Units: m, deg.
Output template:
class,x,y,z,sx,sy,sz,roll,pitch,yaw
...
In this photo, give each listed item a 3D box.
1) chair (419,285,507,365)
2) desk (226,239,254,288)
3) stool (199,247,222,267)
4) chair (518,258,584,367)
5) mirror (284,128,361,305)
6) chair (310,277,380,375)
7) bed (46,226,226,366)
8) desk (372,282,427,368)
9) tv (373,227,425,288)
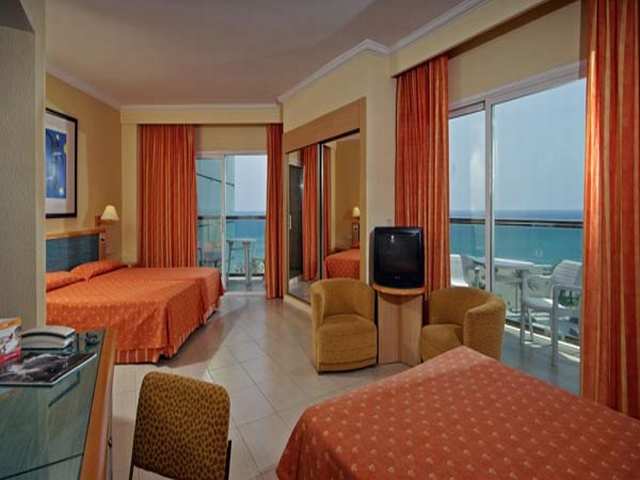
class,x,y,z,sx,sy,sz,roll,pitch,yaw
chair,1.324,0.849,4.283,0.681,0.735,0.779,-1,9,-28
desk,-1.516,0.336,8.329,0.512,0.726,0.563,2,3,1
stool,-1.838,0.265,7.616,0.455,0.479,0.255,0,0,-19
chair,2.155,0.612,4.146,0.405,0.818,0.491,0,5,3
mirror,0.059,-0.369,6.091,0.116,2.596,2.373,-3,4,-21
chair,0.248,0.896,4.800,0.635,0.869,0.717,-2,1,-7
bed,-2.453,0.541,5.646,2.009,1.202,2.188,0,6,-2
desk,0.828,0.874,4.773,0.529,0.875,0.474,1,7,22
tv,0.865,0.147,4.775,0.538,0.685,0.350,2,14,26
